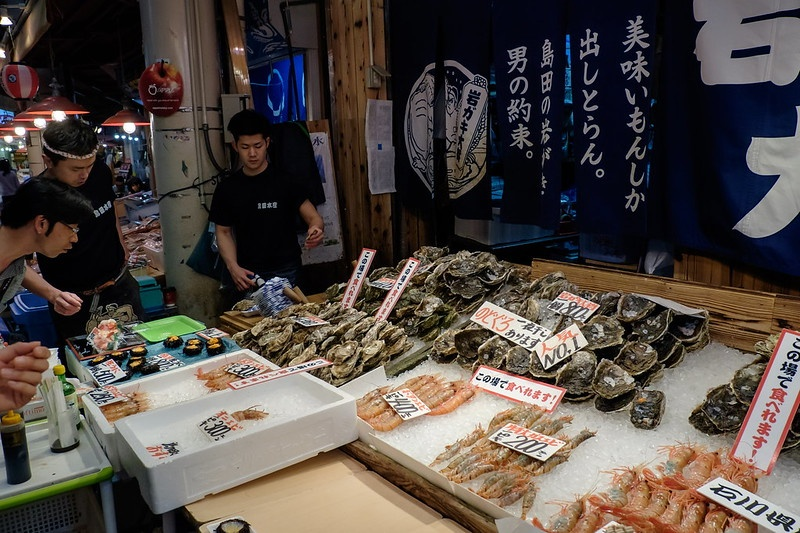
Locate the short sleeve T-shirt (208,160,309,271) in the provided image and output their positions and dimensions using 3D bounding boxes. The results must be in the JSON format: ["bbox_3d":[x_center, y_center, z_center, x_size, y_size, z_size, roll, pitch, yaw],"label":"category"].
[{"bbox_3d":[-1.386,-0.464,4.762,1.001,0.985,0.518,-9,21,-20],"label":"short sleeve T-shirt"}]

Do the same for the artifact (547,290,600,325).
[{"bbox_3d":[1.075,0.263,3.055,0.175,0.091,0.265,-18,26,-34],"label":"artifact"}]

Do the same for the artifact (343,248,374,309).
[{"bbox_3d":[-0.312,0.126,3.934,0.161,0.599,0.047,19,-8,34],"label":"artifact"}]

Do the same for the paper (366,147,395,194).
[{"bbox_3d":[-0.179,-1.158,5.814,0.394,0.516,0.364,4,14,27],"label":"paper"}]

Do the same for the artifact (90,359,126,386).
[{"bbox_3d":[-1.858,0.685,3.088,0.157,0.041,0.145,20,37,33],"label":"artifact"}]

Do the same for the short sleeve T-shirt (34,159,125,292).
[{"bbox_3d":[-2.732,-0.352,4.165,0.548,1.088,0.907,5,24,-10],"label":"short sleeve T-shirt"}]

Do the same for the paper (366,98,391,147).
[{"bbox_3d":[-0.240,-1.642,5.646,0.441,0.548,0.141,-22,28,-39],"label":"paper"}]

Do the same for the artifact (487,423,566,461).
[{"bbox_3d":[0.636,0.890,2.461,0.340,0.061,0.185,14,26,36],"label":"artifact"}]
